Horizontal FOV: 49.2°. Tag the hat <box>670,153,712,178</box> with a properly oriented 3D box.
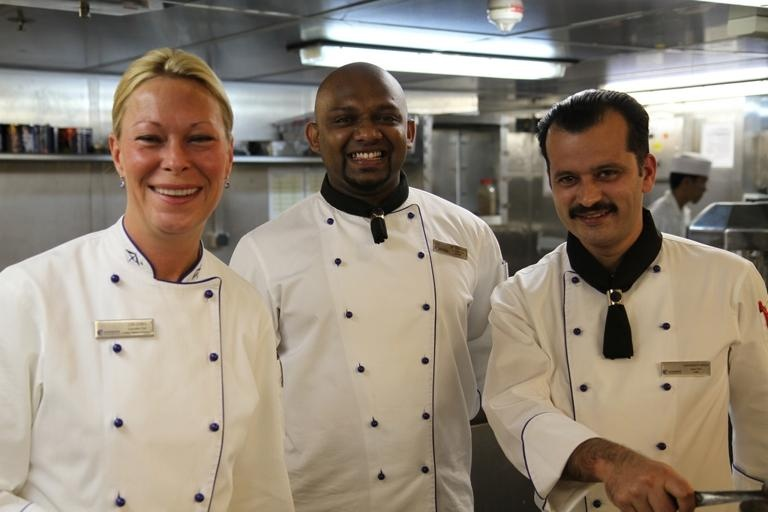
[{"bbox_3d":[1.796,-0.530,4.918,0.190,0.102,0.153,4,6,-16],"label":"hat"}]

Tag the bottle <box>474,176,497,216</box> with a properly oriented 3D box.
[{"bbox_3d":[0.709,-0.395,5.690,0.136,0.252,0.132,-3,-1,0],"label":"bottle"}]
